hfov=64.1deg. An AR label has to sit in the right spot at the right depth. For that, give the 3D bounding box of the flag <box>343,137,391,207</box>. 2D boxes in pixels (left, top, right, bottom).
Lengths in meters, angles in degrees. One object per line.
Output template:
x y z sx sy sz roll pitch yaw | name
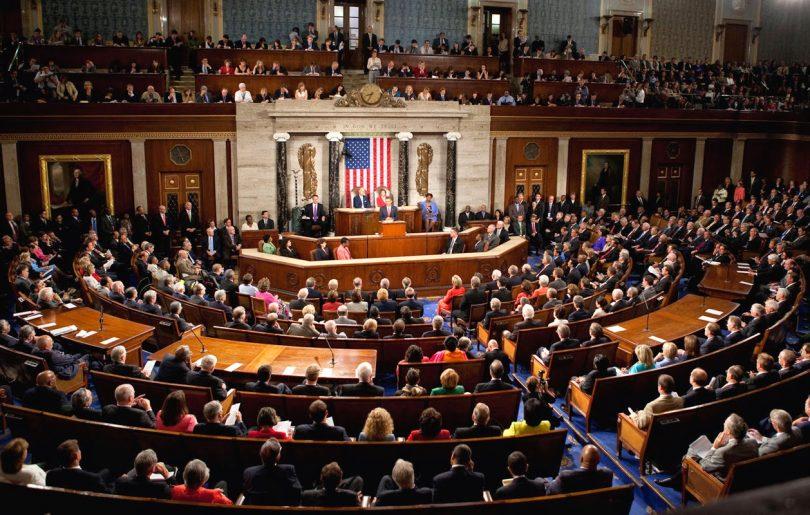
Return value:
-1.373 -2.989 22.253 2.334 3.219 0.221 -2 7 -17 | flag
